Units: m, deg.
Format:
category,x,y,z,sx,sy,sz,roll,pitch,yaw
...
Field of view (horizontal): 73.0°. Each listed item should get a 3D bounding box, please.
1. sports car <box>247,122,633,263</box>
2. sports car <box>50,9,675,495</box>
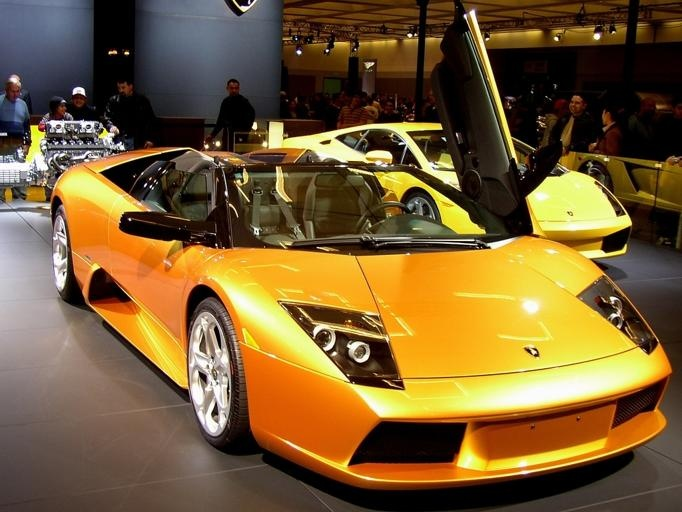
category,x,y,z,sx,sy,sz,roll,pitch,yaw
sports car,1.437,-1.246,6.695,2.649,1.337,4.715,-11,26,-42
sports car,-0.241,0.078,3.094,2.374,1.936,3.627,-6,15,-32
